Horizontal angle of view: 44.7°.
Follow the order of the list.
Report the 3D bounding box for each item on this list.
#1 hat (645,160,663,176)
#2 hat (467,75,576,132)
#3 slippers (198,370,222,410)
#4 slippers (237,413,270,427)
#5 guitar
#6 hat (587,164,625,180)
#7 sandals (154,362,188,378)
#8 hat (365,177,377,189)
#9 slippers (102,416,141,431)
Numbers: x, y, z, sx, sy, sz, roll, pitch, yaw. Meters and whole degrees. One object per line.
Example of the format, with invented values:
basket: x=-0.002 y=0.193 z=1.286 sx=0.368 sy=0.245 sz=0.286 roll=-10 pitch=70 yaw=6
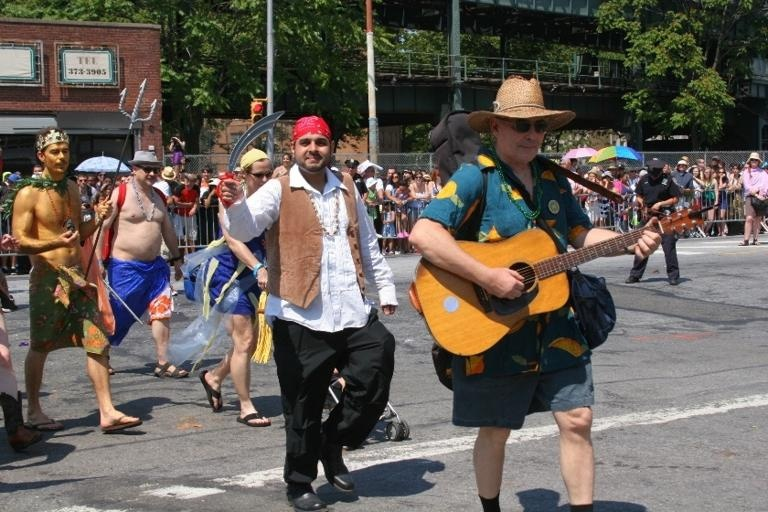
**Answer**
hat: x=4.398 y=-1.426 z=15.162 sx=0.234 sy=0.249 sz=0.285 roll=4 pitch=-3 yaw=-3
hat: x=0.992 y=-1.110 z=6.635 sx=0.704 sy=0.321 sz=0.727 roll=-4 pitch=8 yaw=-29
slippers: x=-1.698 y=1.340 z=9.050 sx=0.116 sy=0.408 sz=0.168 roll=-25 pitch=-5 yaw=32
slippers: x=-1.212 y=1.527 z=8.559 sx=0.232 sy=0.067 sz=0.129 roll=-1 pitch=0 yaw=41
guitar: x=1.258 y=0.083 z=6.391 sx=2.051 sy=0.764 sz=0.210 roll=-19 pitch=-24 yaw=9
hat: x=6.324 y=-2.391 z=26.298 sx=1.113 sy=0.310 sz=1.111 roll=-1 pitch=2 yaw=40
sandals: x=-2.334 y=1.265 z=10.185 sx=0.395 sy=0.143 sz=0.152 roll=1 pitch=2 yaw=13
hat: x=-0.303 y=-1.606 z=20.645 sx=0.232 sy=0.065 sz=0.228 roll=-25 pitch=6 yaw=25
slippers: x=-2.361 y=1.513 z=8.349 sx=0.375 sy=0.105 sz=0.142 roll=-6 pitch=3 yaw=7
